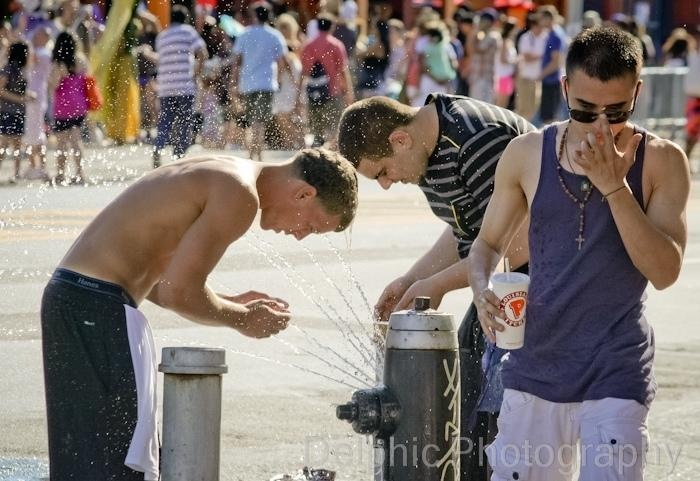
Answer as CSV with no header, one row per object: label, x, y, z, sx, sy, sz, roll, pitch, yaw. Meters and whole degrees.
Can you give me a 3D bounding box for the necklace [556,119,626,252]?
necklace,1.631,-0.407,11.526,0.242,0.885,0.064,11,-10,-11
